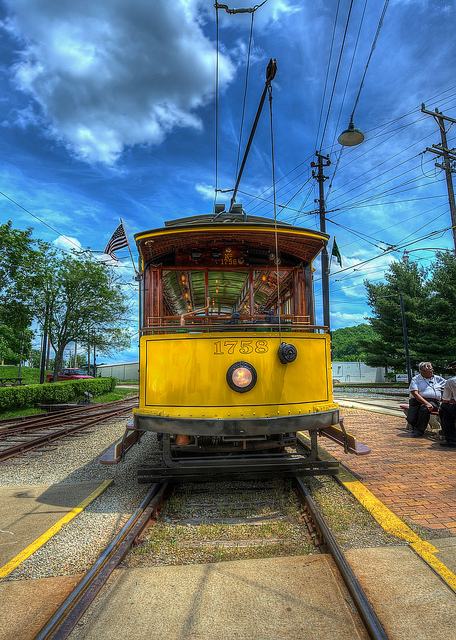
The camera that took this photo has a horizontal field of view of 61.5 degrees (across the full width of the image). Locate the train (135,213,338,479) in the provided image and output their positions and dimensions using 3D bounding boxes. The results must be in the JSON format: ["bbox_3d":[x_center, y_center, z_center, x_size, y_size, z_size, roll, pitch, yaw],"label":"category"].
[{"bbox_3d":[-0.146,0.522,7.151,2.515,3.495,6.590,-1,-6,-7],"label":"train"}]

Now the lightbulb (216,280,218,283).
[{"bbox_3d":[-0.186,-0.619,6.069,0.027,0.052,0.027,-2,-14,-14],"label":"lightbulb"}]

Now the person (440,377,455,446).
[{"bbox_3d":[3.470,1.509,6.154,0.223,1.088,0.485,-4,-7,27],"label":"person"}]

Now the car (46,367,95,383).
[{"bbox_3d":[-11.537,4.043,28.374,2.068,0.751,4.154,0,-7,-13],"label":"car"}]
